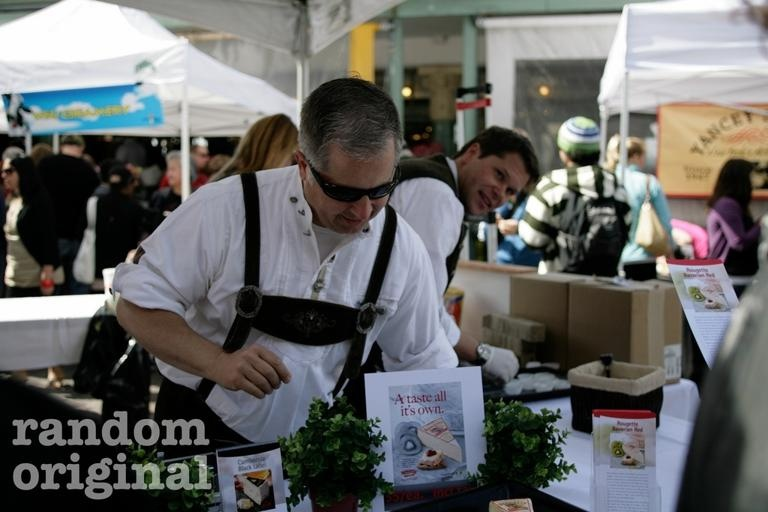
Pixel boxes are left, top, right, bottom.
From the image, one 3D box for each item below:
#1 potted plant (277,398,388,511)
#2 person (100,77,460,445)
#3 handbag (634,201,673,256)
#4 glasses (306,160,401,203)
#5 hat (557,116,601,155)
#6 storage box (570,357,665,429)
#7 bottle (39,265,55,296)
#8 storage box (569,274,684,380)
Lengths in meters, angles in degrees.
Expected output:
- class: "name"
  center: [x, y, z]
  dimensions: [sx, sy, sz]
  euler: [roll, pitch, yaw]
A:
- class: "potted plant"
  center: [-0.234, 0.741, 3.209]
  dimensions: [0.434, 0.398, 0.464]
  euler: [4, 42, -15]
- class: "person"
  center: [-0.409, 0.032, 3.453]
  dimensions: [1.310, 1.510, 0.506]
  euler: [1, 5, 8]
- class: "handbag"
  center: [1.909, -0.192, 5.882]
  dimensions: [0.116, 0.311, 0.271]
  euler: [-14, -25, 20]
- class: "glasses"
  center: [-0.127, -0.296, 3.326]
  dimensions: [0.368, 0.162, 0.107]
  euler: [-1, 5, -5]
- class: "hat"
  center: [1.293, -0.807, 5.527]
  dimensions: [0.241, 0.189, 0.260]
  euler: [-8, 51, -7]
- class: "storage box"
  center: [1.042, 0.581, 3.725]
  dimensions: [0.298, 0.317, 0.406]
  euler: [1, -3, -32]
- class: "bottle"
  center: [-2.661, 0.198, 6.511]
  dimensions: [0.061, 0.222, 0.154]
  euler: [1, 0, 21]
- class: "storage box"
  center: [1.238, 0.284, 4.387]
  dimensions: [0.614, 0.645, 0.448]
  euler: [6, 9, 35]
